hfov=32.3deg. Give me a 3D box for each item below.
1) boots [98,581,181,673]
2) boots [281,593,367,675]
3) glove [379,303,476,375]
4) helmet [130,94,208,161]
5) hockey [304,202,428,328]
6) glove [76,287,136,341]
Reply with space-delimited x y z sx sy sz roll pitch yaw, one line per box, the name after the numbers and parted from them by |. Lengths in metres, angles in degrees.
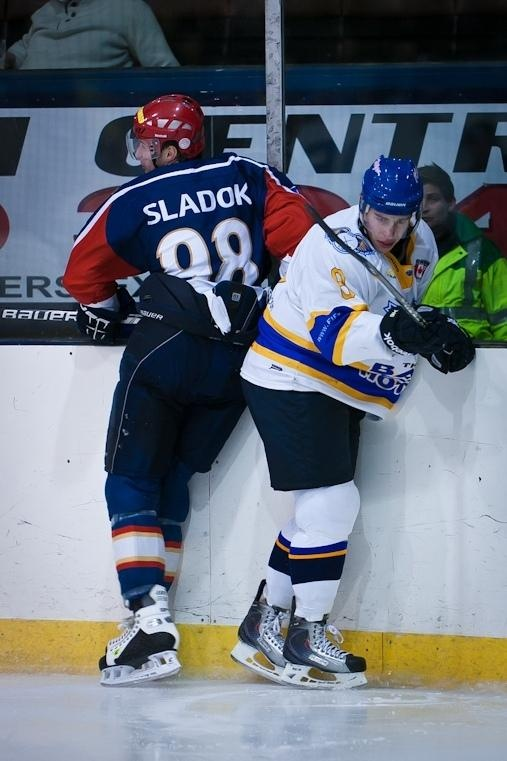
-0.335 0.750 2.572 0.234 0.289 0.168 1 -7 -6 | boots
0.211 0.747 2.489 0.269 0.161 0.088 -3 -9 35 | boots
0.434 -0.137 2.143 0.236 0.181 0.094 21 75 25 | glove
-0.238 -0.779 2.677 0.247 0.200 0.171 5 43 -3 | helmet
0.286 -0.294 2.255 0.025 0.474 0.054 -45 6 -15 | hockey
-0.472 -0.211 2.787 0.158 0.133 0.105 -20 35 21 | glove
